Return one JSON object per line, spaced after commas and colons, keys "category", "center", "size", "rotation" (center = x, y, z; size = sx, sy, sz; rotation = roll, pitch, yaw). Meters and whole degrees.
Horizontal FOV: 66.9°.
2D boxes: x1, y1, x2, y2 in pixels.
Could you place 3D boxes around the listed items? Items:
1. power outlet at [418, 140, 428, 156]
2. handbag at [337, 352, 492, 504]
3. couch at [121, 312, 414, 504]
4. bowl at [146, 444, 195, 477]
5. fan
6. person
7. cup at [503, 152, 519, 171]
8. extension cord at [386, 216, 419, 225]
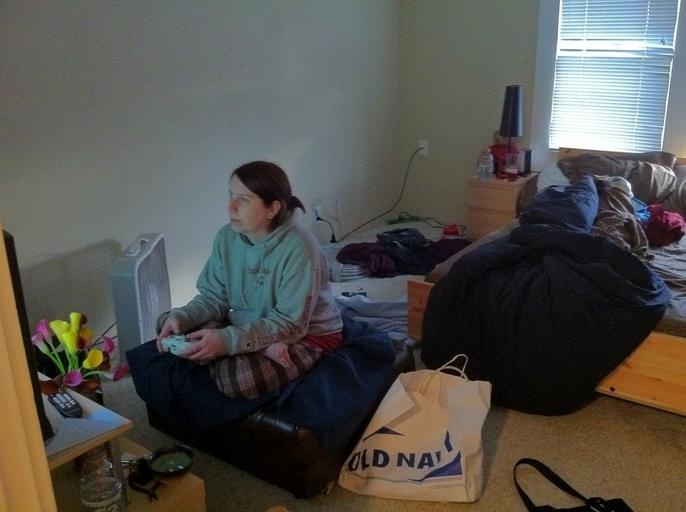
{"category": "power outlet", "center": [0.712, -0.963, 4.589], "size": [0.130, 0.176, 0.018], "rotation": [5, 25, 18]}
{"category": "handbag", "center": [0.293, 0.679, 1.915], "size": [0.471, 0.537, 0.179], "rotation": [7, -23, 33]}
{"category": "couch", "center": [-0.190, 0.584, 2.017], "size": [0.713, 0.302, 0.719], "rotation": [12, 20, 32]}
{"category": "bowl", "center": [-0.559, 0.686, 1.711], "size": [0.131, 0.052, 0.131], "rotation": [10, 10, -2]}
{"category": "fan", "center": [-0.984, 0.192, 2.526], "size": [0.155, 0.672, 0.444], "rotation": [6, 27, 9]}
{"category": "person", "center": [-0.362, 0.063, 2.165], "size": [0.781, 0.854, 0.697], "rotation": [-8, 19, -36]}
{"category": "cup", "center": [1.322, -0.751, 4.093], "size": [0.103, 0.160, 0.099], "rotation": [-2, 18, 1]}
{"category": "extension cord", "center": [0.545, -0.329, 4.703], "size": [0.224, 0.052, 0.118], "rotation": [-12, 17, -25]}
